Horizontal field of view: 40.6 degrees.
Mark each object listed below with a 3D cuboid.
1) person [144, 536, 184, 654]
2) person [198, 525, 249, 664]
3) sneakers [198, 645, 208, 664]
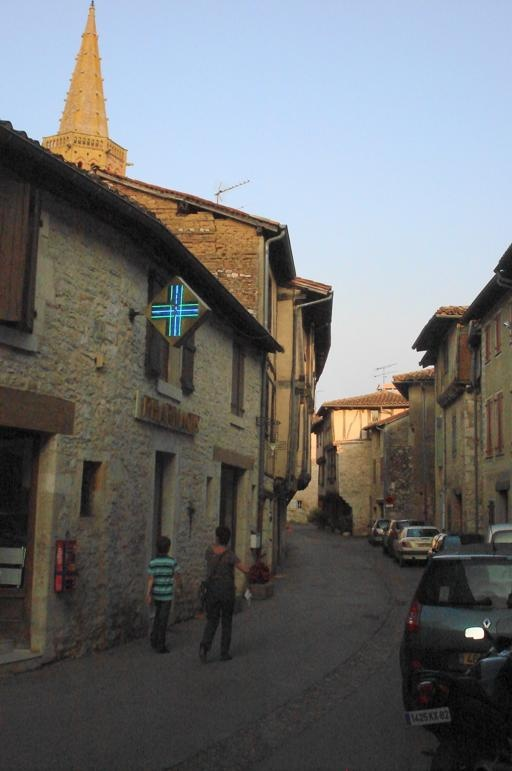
[{"bbox_3d":[-1.171,2.587,8.699,0.354,1.359,1.718,2,-10,-7],"label":"person"},{"bbox_3d":[-0.410,2.400,8.028,0.464,1.490,0.783,1,-9,-4],"label":"person"},{"bbox_3d":[-0.591,2.967,7.606,0.048,0.182,0.104,3,-6,27],"label":"sneakers"}]
